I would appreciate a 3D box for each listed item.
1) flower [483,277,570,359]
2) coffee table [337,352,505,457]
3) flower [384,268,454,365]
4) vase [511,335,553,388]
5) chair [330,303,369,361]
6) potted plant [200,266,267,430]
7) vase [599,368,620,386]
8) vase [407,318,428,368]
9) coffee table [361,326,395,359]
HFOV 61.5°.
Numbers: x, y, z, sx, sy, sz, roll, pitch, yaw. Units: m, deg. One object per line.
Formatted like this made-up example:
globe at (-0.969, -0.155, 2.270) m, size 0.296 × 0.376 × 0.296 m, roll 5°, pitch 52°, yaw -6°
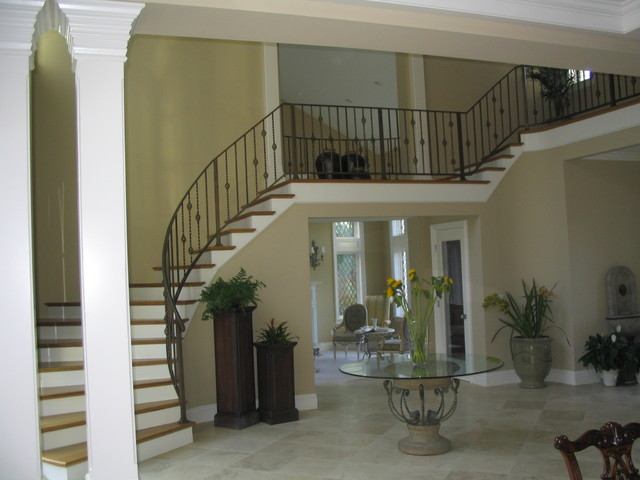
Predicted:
flower at (2.973, 1.186, 7.819) m, size 1.192 × 1.219 × 1.087 m, roll -4°, pitch -15°, yaw 17°
coffee table at (1.073, 1.584, 5.713) m, size 1.187 × 0.699 × 1.277 m, roll -1°, pitch -4°, yaw 2°
flower at (1.004, 0.860, 5.625) m, size 0.612 × 0.846 × 0.694 m, roll -6°, pitch -9°, yaw 7°
vase at (3.031, 1.715, 7.705) m, size 0.594 × 0.704 × 0.617 m, roll -3°, pitch -2°, yaw 30°
chair at (0.643, 1.852, 10.867) m, size 0.806 × 1.532 × 0.916 m, roll -1°, pitch -4°, yaw 19°
potted plant at (-1.051, 1.288, 6.433) m, size 0.646 × 1.533 × 0.300 m, roll -2°, pitch -1°, yaw -8°
vase at (3.931, 1.856, 7.294) m, size 0.188 × 0.172 × 0.218 m, roll 1°, pitch -3°, yaw 5°
vase at (1.012, 1.036, 5.587) m, size 0.265 × 0.465 × 0.268 m, roll 10°, pitch -20°, yaw -29°
coffee table at (1.073, 1.949, 9.927) m, size 0.587 × 0.647 × 0.632 m, roll 0°, pitch 1°, yaw 8°
